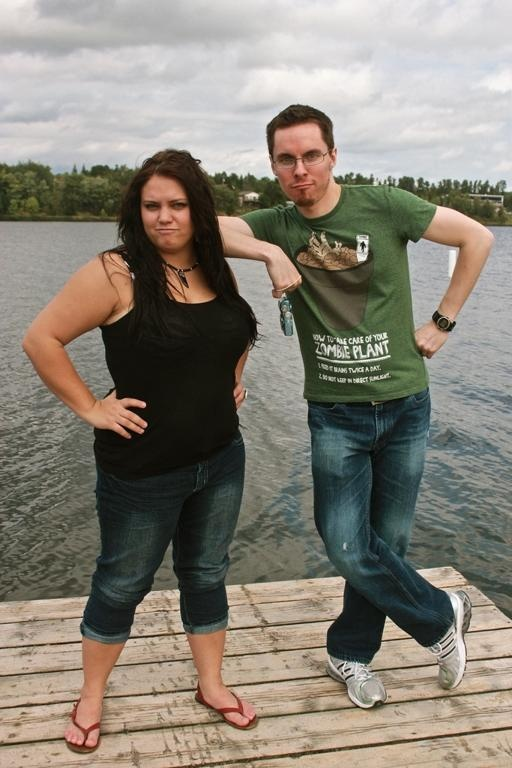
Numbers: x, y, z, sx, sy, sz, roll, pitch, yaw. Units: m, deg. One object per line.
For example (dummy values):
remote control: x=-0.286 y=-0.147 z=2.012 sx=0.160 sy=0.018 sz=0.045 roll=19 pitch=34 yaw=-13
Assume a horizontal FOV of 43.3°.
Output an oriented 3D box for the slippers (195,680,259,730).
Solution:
slippers: x=-0.109 y=1.218 z=2.474 sx=0.218 sy=0.075 sz=0.100 roll=9 pitch=24 yaw=41

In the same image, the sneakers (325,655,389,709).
sneakers: x=0.401 y=1.193 z=2.607 sx=0.107 sy=0.090 sz=0.237 roll=-4 pitch=12 yaw=-37

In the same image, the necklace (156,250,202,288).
necklace: x=-0.264 y=-0.408 z=2.286 sx=0.090 sy=0.021 sz=0.125 roll=-1 pitch=44 yaw=-33

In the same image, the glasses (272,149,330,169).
glasses: x=0.156 y=-0.870 z=2.509 sx=0.216 sy=0.071 sz=0.094 roll=4 pitch=9 yaw=16

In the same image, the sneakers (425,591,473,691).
sneakers: x=0.791 y=1.043 z=2.717 sx=0.219 sy=0.399 sz=0.153 roll=-5 pitch=2 yaw=-29

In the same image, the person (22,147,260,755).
person: x=-0.381 y=0.225 z=2.286 sx=0.813 sy=2.074 sz=0.349 roll=-1 pitch=10 yaw=-17
